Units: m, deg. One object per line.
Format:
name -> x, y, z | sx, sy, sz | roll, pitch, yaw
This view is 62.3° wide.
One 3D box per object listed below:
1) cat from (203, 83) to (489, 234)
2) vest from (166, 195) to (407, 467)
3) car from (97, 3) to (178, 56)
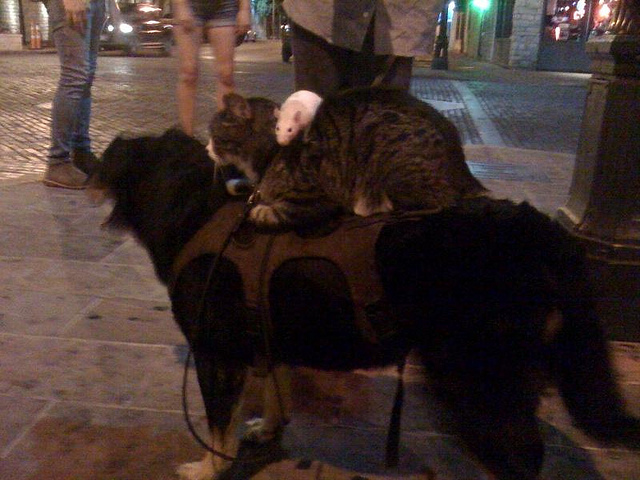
cat -> 0.090, -0.266, 1.568 | 0.903, 0.331, 0.281 | -1, 20, 12
vest -> -0.196, 0.275, 1.645 | 0.917, 0.681, 0.532 | 0, 36, 3
car -> -6.630, -7.647, 19.248 | 3.143, 1.838, 1.216 | 9, 20, 24
